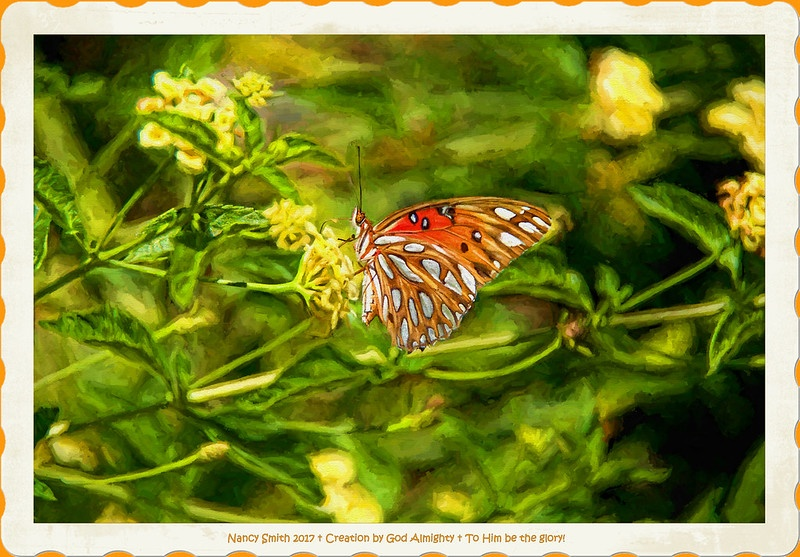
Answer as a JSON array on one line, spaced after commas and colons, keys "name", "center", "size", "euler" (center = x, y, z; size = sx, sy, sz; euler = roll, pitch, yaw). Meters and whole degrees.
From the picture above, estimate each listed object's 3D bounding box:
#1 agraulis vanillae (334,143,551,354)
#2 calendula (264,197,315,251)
[{"name": "agraulis vanillae", "center": [0.170, -0.068, 2.236], "size": [0.483, 0.626, 0.522], "euler": [4, 9, 33]}, {"name": "calendula", "center": [-0.301, -0.150, 2.094], "size": [0.143, 0.093, 0.116], "euler": [-10, 53, -6]}]
